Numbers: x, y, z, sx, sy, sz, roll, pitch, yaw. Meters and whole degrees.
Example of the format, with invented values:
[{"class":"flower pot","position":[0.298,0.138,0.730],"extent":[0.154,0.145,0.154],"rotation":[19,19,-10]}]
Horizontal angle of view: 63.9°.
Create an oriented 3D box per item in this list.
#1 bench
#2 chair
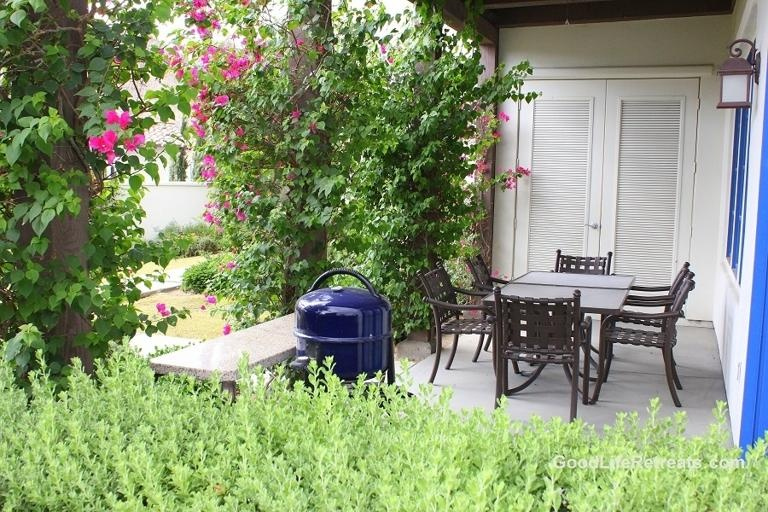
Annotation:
[{"class":"bench","position":[-0.829,0.561,3.594],"extent":[0.641,0.388,0.968],"rotation":[3,-1,22]},{"class":"chair","position":[1.573,0.509,5.591],"extent":[2.120,1.283,2.448],"rotation":[3,-1,16]}]
